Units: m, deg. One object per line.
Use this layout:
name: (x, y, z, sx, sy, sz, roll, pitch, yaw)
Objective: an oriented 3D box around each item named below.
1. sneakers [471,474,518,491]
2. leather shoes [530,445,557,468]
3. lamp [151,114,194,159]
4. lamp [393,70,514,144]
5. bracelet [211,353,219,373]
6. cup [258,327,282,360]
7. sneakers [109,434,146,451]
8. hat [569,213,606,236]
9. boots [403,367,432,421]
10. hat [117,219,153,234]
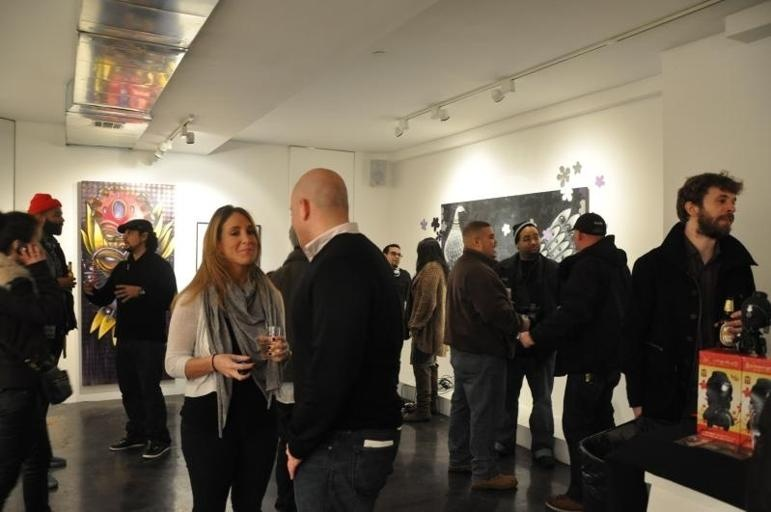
sneakers: (0.901, 1.875, 4.652, 0.372, 0.149, 0.150, -2, -3, -8)
leather shoes: (1.474, 1.884, 5.177, 0.094, 0.113, 0.272, 1, -10, -10)
lamp: (-2.470, -1.393, 6.556, 0.269, 0.277, 1.747, -1, 4, -31)
lamp: (0.737, -1.592, 5.840, 0.145, 0.143, 1.223, 5, -15, -28)
bracelet: (-0.952, 0.590, 3.051, 0.020, 0.074, 0.078, 3, -24, -9)
cup: (-0.623, 0.482, 3.019, 0.135, 0.211, 0.173, 0, 3, -11)
sneakers: (-2.511, 1.838, 5.452, 0.368, 0.150, 0.122, 8, -5, -21)
hat: (1.682, -0.264, 4.602, 0.174, 0.130, 0.230, 3, 9, -8)
boots: (0.383, 1.613, 6.434, 0.430, 0.619, 0.178, -14, -21, 36)
hat: (-2.439, -0.283, 5.345, 0.245, 0.077, 0.165, 2, -7, -4)
